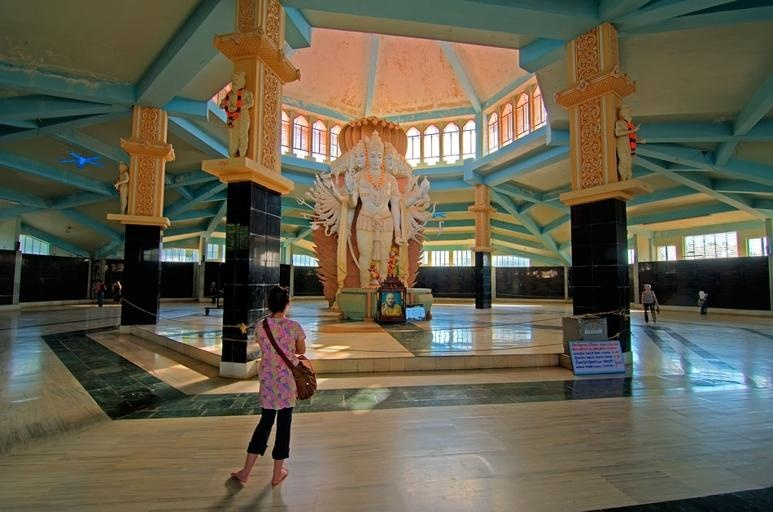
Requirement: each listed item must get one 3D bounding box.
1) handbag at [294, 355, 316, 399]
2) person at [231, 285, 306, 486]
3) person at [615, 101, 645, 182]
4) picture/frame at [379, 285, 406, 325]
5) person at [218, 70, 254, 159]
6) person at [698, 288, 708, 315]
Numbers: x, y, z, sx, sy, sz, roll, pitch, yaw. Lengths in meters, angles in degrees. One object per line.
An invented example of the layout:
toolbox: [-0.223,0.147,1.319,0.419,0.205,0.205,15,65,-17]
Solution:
handbag: [-0.952,1.444,5.468,0.206,0.522,0.367,-4,14,-11]
person: [-1.341,1.512,5.389,0.558,2.181,0.831,6,16,24]
person: [4.511,-2.146,8.817,0.406,1.392,0.704,6,16,23]
picture/frame: [-0.041,1.212,12.253,0.715,0.940,0.923,-2,-3,45]
person: [-2.571,-2.471,8.103,0.555,1.461,0.667,-5,15,-16]
person: [11.740,1.730,17.280,0.328,0.868,1.246,9,16,33]
